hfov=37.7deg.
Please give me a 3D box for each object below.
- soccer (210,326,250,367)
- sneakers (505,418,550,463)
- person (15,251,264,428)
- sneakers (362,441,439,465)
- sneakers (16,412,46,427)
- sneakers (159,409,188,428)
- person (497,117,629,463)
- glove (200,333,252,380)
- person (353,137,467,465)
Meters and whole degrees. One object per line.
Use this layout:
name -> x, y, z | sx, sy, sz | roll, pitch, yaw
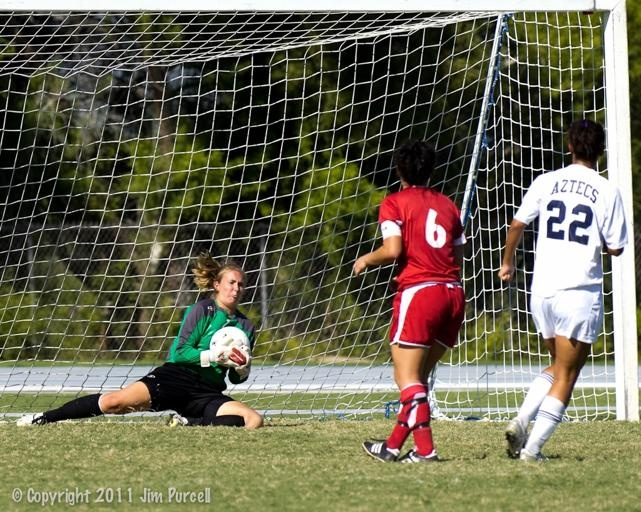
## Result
soccer -> -0.740, 0.752, 7.994 | 0.384, 0.305, 0.310 | -2, 13, 20
sneakers -> 1.496, 1.353, 6.884 | 0.173, 0.195, 0.468 | -2, -32, 23
person -> -1.547, 0.773, 8.143 | 2.335, 1.474, 0.999 | 0, -10, 5
sneakers -> 0.581, 1.454, 6.930 | 0.567, 0.204, 0.189 | 10, -11, 12
sneakers -> -2.488, 1.388, 7.985 | 0.226, 0.106, 0.188 | 6, -6, -32
sneakers -> -1.298, 1.457, 8.280 | 0.158, 0.173, 0.421 | 2, -25, 1
person -> 1.794, 0.247, 6.979 | 0.880, 2.545, 0.291 | 2, -5, 16
glove -> -0.787, 0.810, 7.862 | 0.301, 0.288, 0.396 | 15, 14, 9
person -> 0.676, 0.327, 6.920 | 0.785, 2.352, 0.390 | 4, -5, 1
